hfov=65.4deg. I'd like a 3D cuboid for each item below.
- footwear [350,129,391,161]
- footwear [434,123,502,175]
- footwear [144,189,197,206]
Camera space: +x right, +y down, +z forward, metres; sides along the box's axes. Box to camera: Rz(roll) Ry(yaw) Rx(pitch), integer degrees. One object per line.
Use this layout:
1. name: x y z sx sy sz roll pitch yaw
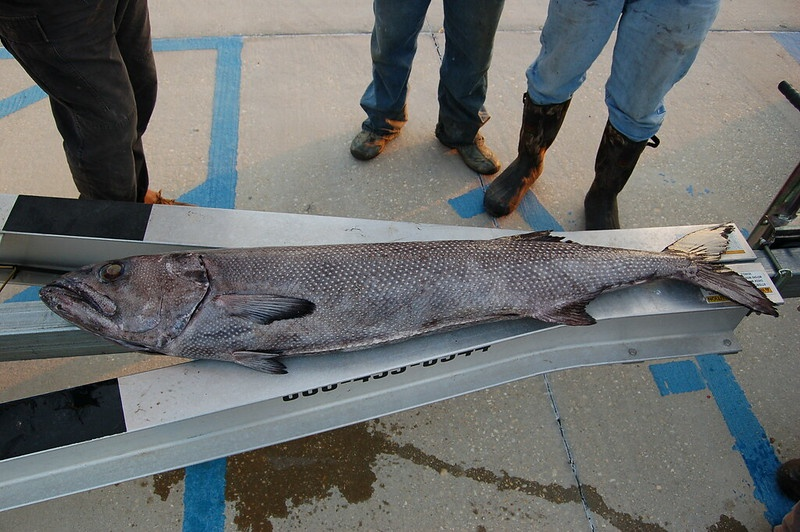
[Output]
1. footwear: -0.249 -0.973 5.098 0.360 0.152 0.185 -40 72 -16
2. footwear: 0.525 -0.931 5.040 0.498 0.199 0.180 36 62 3
3. footwear: -1.707 -0.504 4.607 0.328 0.075 0.123 17 35 -12
